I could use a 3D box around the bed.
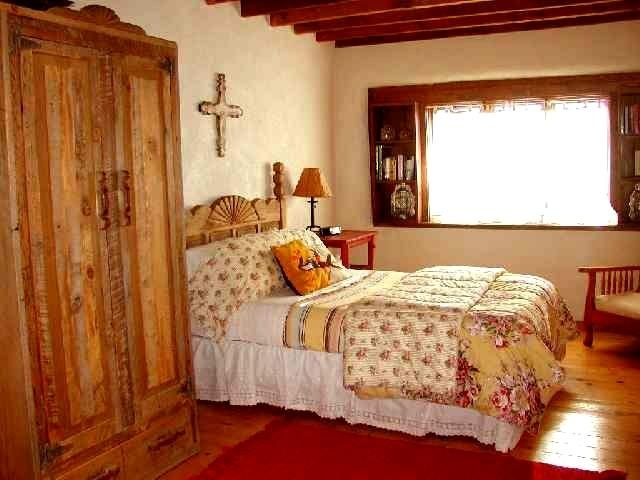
[{"bbox_3d":[0.316,0.304,3.687,2.072,1.131,1.459,2,14,18],"label":"bed"}]

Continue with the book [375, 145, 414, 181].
[{"bbox_3d":[0.849,-0.788,6.110,0.506,0.508,0.370,3,5,24],"label":"book"}]

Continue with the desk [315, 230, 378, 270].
[{"bbox_3d":[0.264,0.033,5.322,0.391,0.574,0.609,2,8,18],"label":"desk"}]
